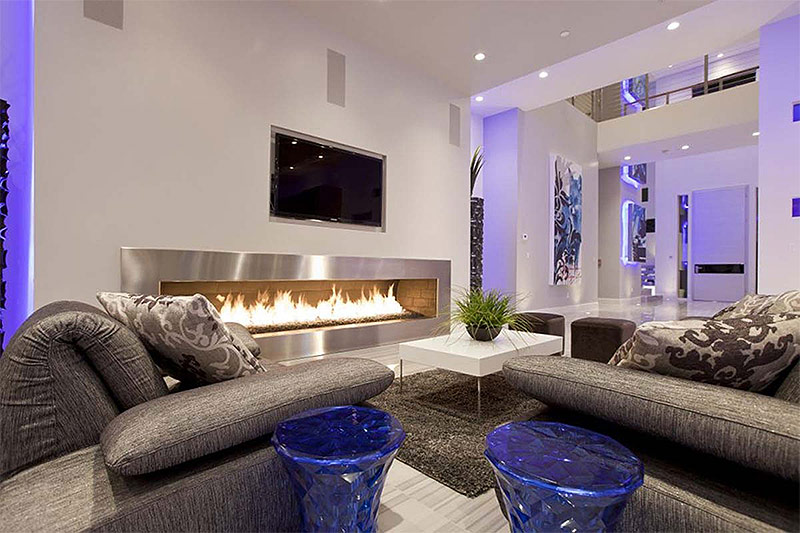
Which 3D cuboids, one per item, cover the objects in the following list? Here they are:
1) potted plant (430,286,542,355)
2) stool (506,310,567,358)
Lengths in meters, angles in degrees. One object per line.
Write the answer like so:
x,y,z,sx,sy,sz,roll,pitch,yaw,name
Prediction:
0.660,0.429,3.769,0.548,0.359,0.562,1,-8,-33,potted plant
1.365,0.634,4.741,0.497,0.464,0.518,-2,-6,20,stool
